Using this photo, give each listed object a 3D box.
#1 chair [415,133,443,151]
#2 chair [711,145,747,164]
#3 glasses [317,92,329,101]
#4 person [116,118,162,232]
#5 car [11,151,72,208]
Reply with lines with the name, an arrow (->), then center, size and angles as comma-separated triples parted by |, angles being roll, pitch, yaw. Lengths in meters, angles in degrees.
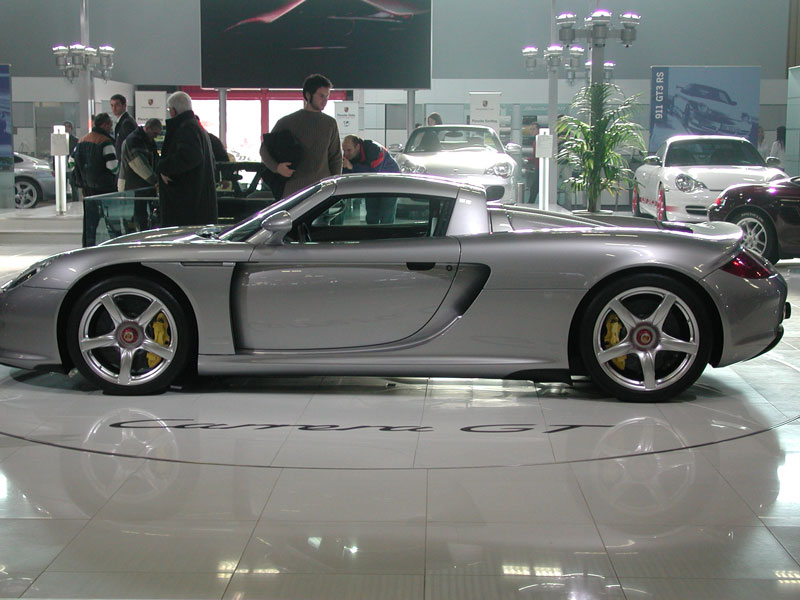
chair -> 0.689, -3.777, 14.035 | 0.571, 0.377, 0.163 | -1, -13, 7
chair -> 7.543, -3.255, 13.187 | 0.715, 0.470, 0.208 | 1, -14, 3
glasses -> -0.900, -2.348, 6.715 | 0.090, 0.062, 0.108 | -3, 0, -38
person -> -4.115, -1.823, 9.103 | 0.607, 1.930, 0.663 | 7, 25, -25
car -> -11.400, -3.634, 18.133 | 2.090, 0.938, 1.192 | 1, 0, -14
